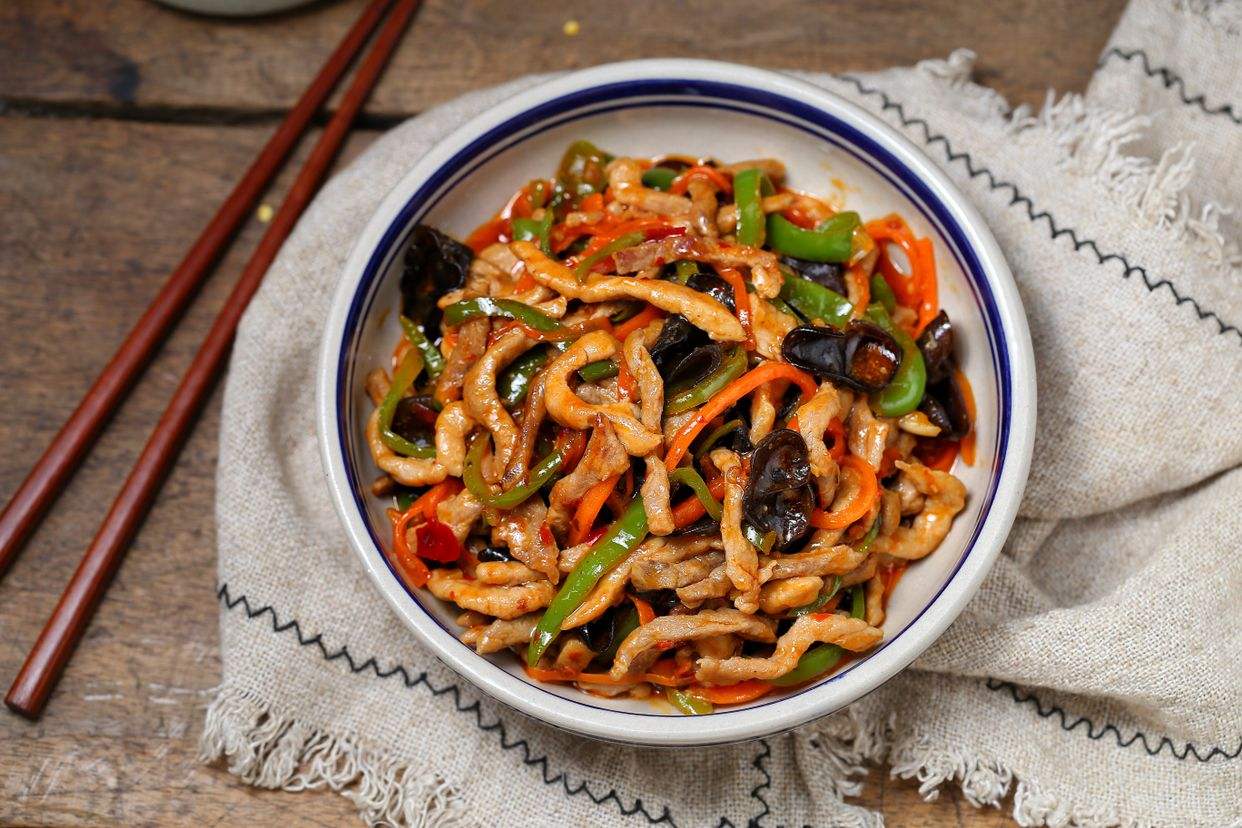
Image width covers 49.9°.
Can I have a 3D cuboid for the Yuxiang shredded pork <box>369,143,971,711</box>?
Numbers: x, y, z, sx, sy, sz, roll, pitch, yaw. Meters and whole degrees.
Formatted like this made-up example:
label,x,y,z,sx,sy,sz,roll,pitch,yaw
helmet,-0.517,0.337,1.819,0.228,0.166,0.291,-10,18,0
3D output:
label,x,y,z,sx,sy,sz,roll,pitch,yaw
Yuxiang shredded pork,0.212,0.051,5.784,2.521,0.510,2.357,1,84,0
